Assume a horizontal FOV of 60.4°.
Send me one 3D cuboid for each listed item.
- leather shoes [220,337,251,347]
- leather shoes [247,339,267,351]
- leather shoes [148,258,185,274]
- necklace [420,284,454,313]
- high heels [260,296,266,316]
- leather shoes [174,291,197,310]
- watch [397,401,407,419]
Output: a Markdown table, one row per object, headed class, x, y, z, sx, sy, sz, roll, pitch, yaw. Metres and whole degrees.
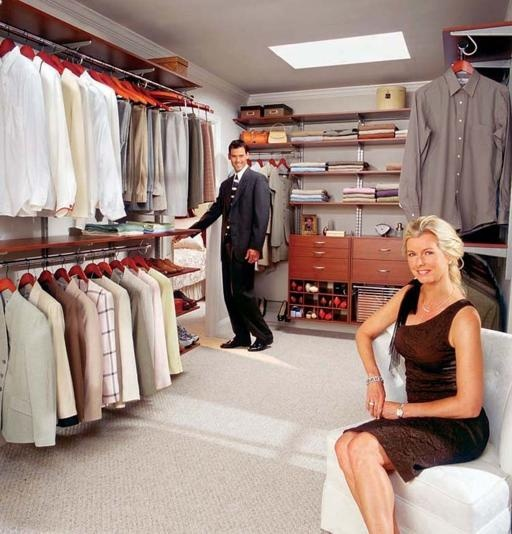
| class | x | y | z | sx | sy | sz | roll | pitch | yaw |
| --- | --- | --- | --- | --- | --- | --- | --- | --- | --- |
| leather shoes | -0.191 | 0.731 | 4.270 | 0.306 | 0.127 | 0.101 | 3 | -3 | -14 |
| leather shoes | 0.013 | 0.741 | 4.128 | 0.078 | 0.079 | 0.190 | -2 | -7 | 41 |
| leather shoes | -0.684 | -0.002 | 3.301 | 0.205 | 0.074 | 0.124 | 7 | 6 | 20 |
| necklace | 0.621 | 0.110 | 1.509 | 0.120 | 0.112 | 0.079 | 2 | 2 | 18 |
| high heels | 0.084 | 0.486 | 5.452 | 0.077 | 0.212 | 0.083 | -1 | -1 | -35 |
| leather shoes | -0.594 | 0.275 | 3.578 | 0.192 | 0.079 | 0.120 | 1 | 3 | 32 |
| watch | 0.474 | 0.472 | 1.442 | 0.017 | 0.042 | 0.031 | 0 | -32 | -2 |
